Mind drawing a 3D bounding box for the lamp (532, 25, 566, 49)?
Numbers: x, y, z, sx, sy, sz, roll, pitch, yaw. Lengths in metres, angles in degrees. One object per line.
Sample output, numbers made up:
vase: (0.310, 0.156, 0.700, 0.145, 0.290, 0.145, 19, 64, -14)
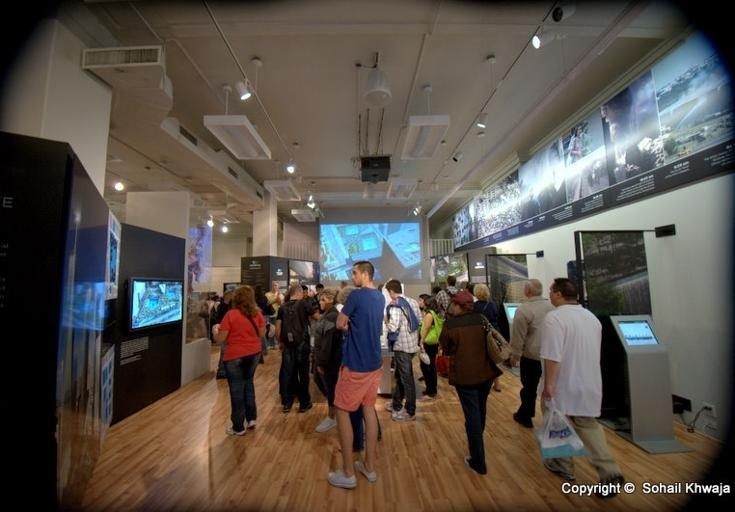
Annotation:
lamp: (2.442, -2.958, 5.655, 0.274, 0.168, 0.182, -18, 43, -12)

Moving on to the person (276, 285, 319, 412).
person: (-1.021, 1.294, 6.162, 0.596, 1.837, 0.571, 1, 10, -2)

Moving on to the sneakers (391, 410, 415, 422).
sneakers: (0.504, 2.159, 5.736, 0.256, 0.121, 0.129, 4, -5, -1)

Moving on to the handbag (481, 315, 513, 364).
handbag: (1.388, 0.909, 4.637, 0.231, 0.578, 0.221, -9, -11, -16)

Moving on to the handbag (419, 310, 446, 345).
handbag: (0.933, 1.104, 6.363, 0.279, 0.512, 0.356, -2, -2, 7)

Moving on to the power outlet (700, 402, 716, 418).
power outlet: (4.280, 1.910, 5.252, 0.114, 0.079, 0.112, 4, -2, -43)

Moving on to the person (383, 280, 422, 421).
person: (0.476, 1.288, 5.750, 0.453, 1.847, 0.639, 1, 14, 7)

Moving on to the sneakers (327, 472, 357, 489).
sneakers: (-0.264, 2.361, 4.521, 0.299, 0.144, 0.144, 4, -5, 9)

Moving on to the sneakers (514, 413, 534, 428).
sneakers: (2.050, 2.123, 5.510, 0.094, 0.122, 0.279, -5, 16, -14)

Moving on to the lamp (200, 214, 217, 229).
lamp: (-4.637, -1.026, 12.213, 0.330, 0.346, 0.616, -2, 11, -7)

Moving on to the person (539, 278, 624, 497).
person: (2.280, 1.360, 4.487, 0.851, 2.119, 0.628, 5, 16, 24)

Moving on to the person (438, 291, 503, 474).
person: (1.141, 1.373, 4.695, 0.621, 1.913, 0.533, 6, 16, 27)

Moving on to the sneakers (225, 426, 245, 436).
sneakers: (-1.688, 2.230, 5.401, 0.200, 0.090, 0.095, 10, 1, 2)

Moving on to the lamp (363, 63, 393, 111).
lamp: (0.152, -2.354, 5.865, 0.339, 0.500, 0.342, 1, 15, 9)

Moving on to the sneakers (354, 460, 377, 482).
sneakers: (-0.015, 2.341, 4.651, 0.107, 0.124, 0.298, -1, 5, -36)

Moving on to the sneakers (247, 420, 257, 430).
sneakers: (-1.505, 2.186, 5.508, 0.115, 0.090, 0.114, -10, -13, 38)

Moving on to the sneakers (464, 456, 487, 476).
sneakers: (1.196, 2.286, 4.712, 0.104, 0.197, 0.286, -4, 9, -13)

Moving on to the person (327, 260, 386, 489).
person: (-0.122, 1.253, 4.609, 0.571, 2.253, 0.904, 0, 14, 6)

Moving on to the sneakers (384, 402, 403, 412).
sneakers: (0.375, 2.148, 6.004, 0.205, 0.098, 0.107, 4, 0, 12)

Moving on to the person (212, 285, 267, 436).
person: (-1.634, 1.338, 5.442, 0.426, 1.833, 0.658, 6, 16, 27)
